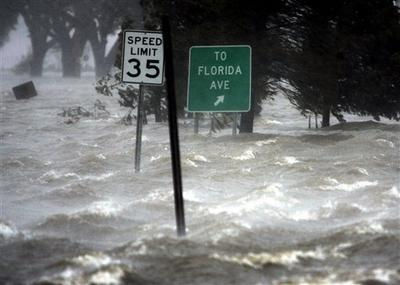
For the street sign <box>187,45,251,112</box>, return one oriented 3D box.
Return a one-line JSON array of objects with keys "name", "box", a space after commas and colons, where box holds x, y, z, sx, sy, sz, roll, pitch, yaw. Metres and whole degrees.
[{"name": "street sign", "box": [0.215, -0.660, 4.806, 0.698, 0.720, 0.011, -2, -12, 18]}]
